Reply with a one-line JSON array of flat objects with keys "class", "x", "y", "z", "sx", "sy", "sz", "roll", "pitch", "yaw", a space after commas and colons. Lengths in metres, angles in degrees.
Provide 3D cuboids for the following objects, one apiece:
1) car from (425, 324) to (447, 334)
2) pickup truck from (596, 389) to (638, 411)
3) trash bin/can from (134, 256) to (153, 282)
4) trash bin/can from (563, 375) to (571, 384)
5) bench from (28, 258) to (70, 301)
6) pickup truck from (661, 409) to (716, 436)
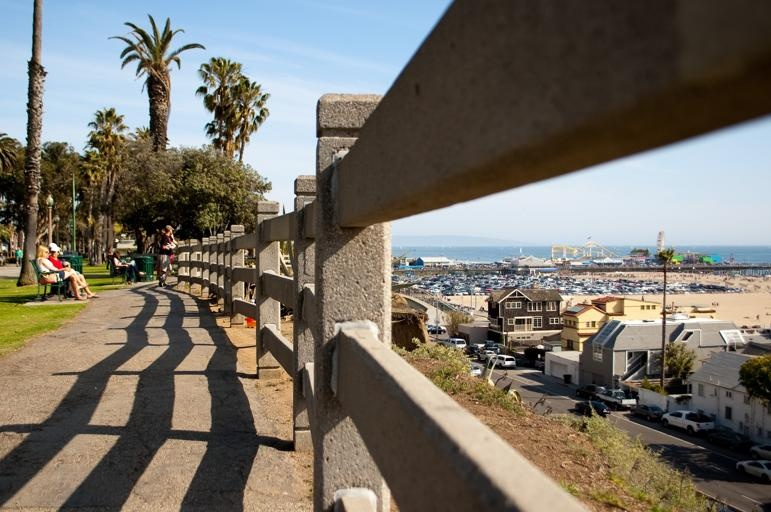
[{"class": "car", "x": 5.273, "y": 7.663, "z": 59.273, "sx": 2.149, "sy": 0.619, "sz": 1.695, "roll": 3, "pitch": 1, "yaw": -15}, {"class": "pickup truck", "x": 14.556, "y": 9.035, "z": 36.067, "sx": 1.053, "sy": 0.912, "sz": 2.167, "roll": 0, "pitch": 0, "yaw": -15}, {"class": "trash bin/can", "x": -9.274, "y": 0.519, "z": 22.256, "sx": 0.954, "sy": 1.029, "sz": 0.982, "roll": 2, "pitch": -4, "yaw": -41}, {"class": "trash bin/can", "x": 13.653, "y": 9.264, "z": 43.077, "sx": 0.571, "sy": 0.559, "sz": 0.501, "roll": 0, "pitch": -3, "yaw": -5}, {"class": "bench", "x": -7.427, "y": 0.431, "z": 13.042, "sx": 0.514, "sy": 1.158, "sz": 0.931, "roll": 13, "pitch": 9, "yaw": 35}, {"class": "pickup truck", "x": 15.702, "y": 8.596, "z": 29.872, "sx": 0.998, "sy": 0.817, "sz": 2.258, "roll": 2, "pitch": -2, "yaw": -13}]
